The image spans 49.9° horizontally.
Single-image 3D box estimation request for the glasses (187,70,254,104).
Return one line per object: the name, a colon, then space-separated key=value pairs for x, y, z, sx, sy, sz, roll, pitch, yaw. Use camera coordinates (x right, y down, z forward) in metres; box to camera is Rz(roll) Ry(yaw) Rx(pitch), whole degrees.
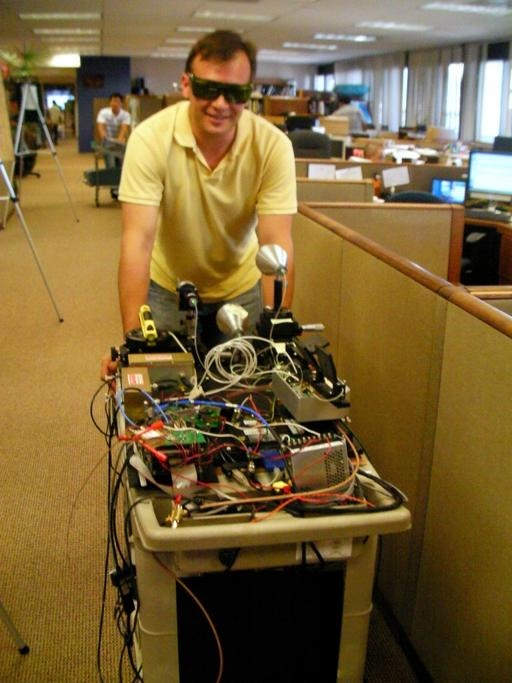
glasses: x=-0.070 y=-0.495 z=1.086 sx=0.125 sy=0.057 sz=0.085 roll=-2 pitch=18 yaw=-3
